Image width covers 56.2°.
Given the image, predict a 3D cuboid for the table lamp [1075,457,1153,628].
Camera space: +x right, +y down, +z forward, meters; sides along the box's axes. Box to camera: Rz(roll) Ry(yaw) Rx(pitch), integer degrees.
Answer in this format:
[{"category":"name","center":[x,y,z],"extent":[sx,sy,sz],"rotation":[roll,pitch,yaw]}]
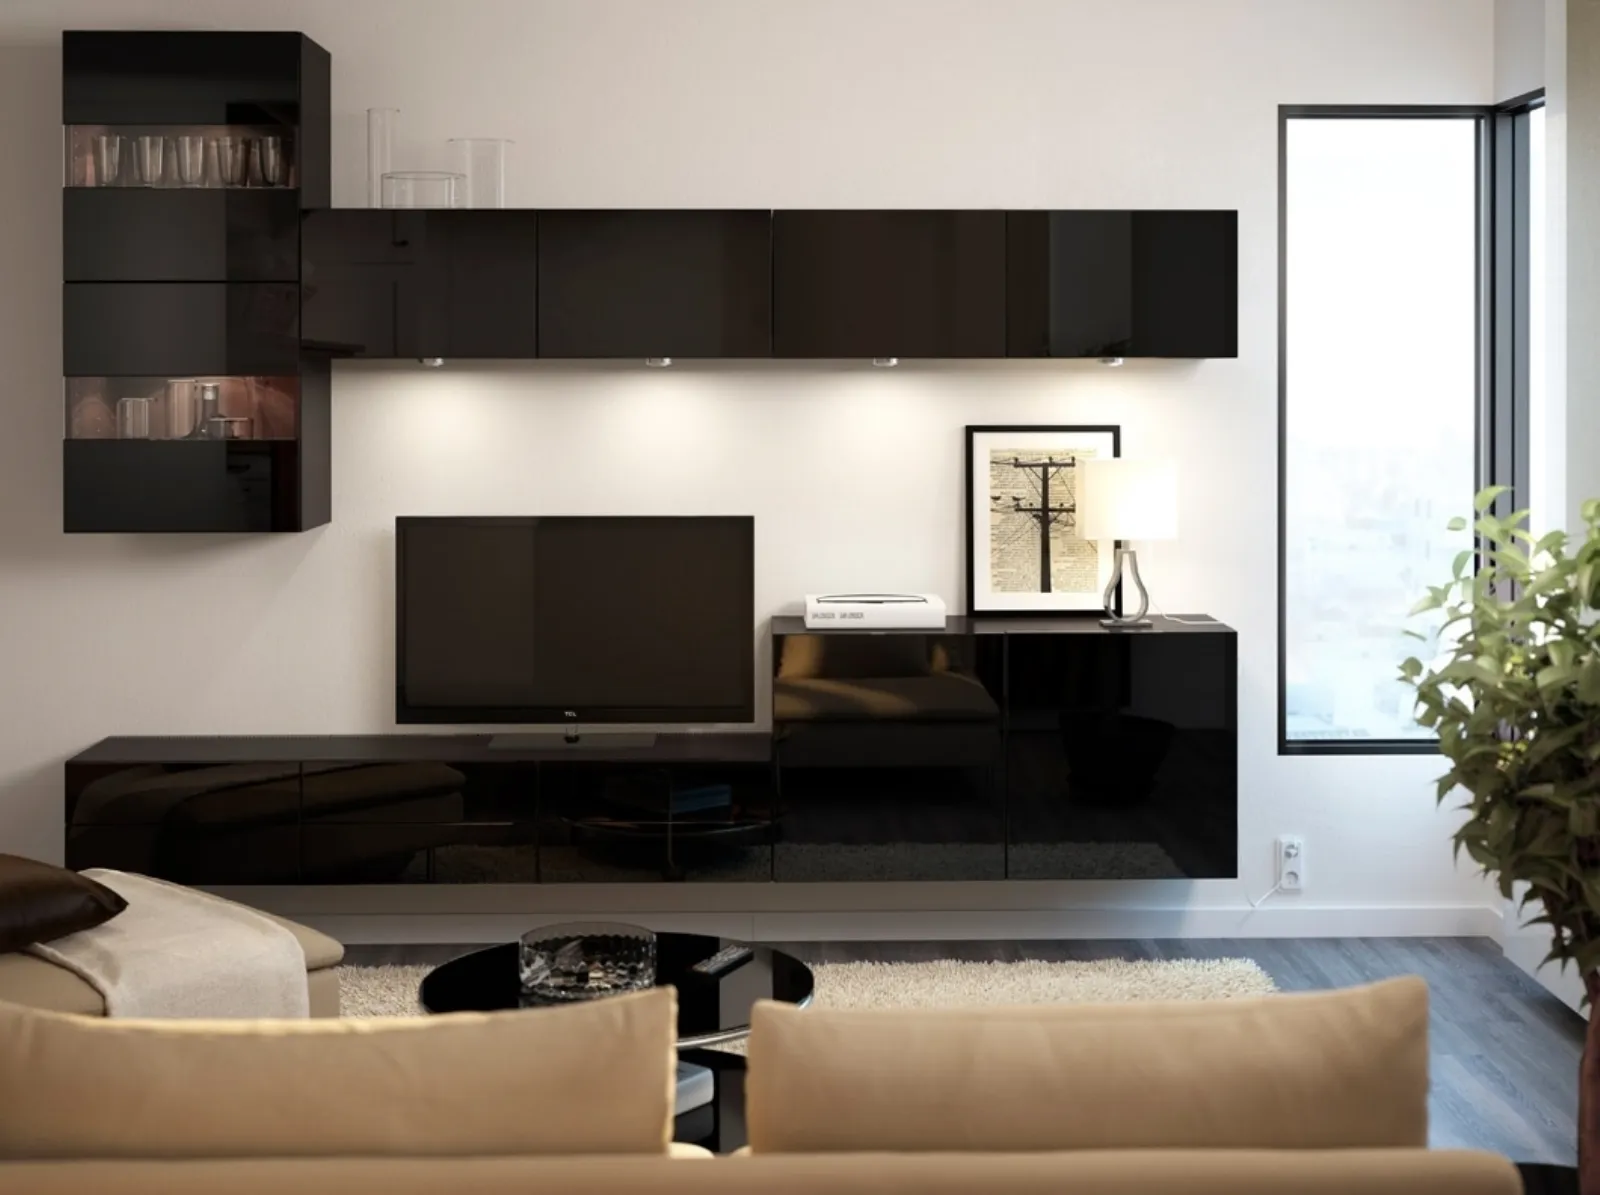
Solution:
[{"category":"table lamp","center":[1.073,-0.188,5.098],"extent":[0.253,0.551,0.298],"rotation":[1,6,10]}]

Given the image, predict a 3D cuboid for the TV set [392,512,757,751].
[{"category":"TV set","center":[-0.753,0.078,5.256],"extent":[1.342,0.721,0.043],"rotation":[1,-1,-30]}]
